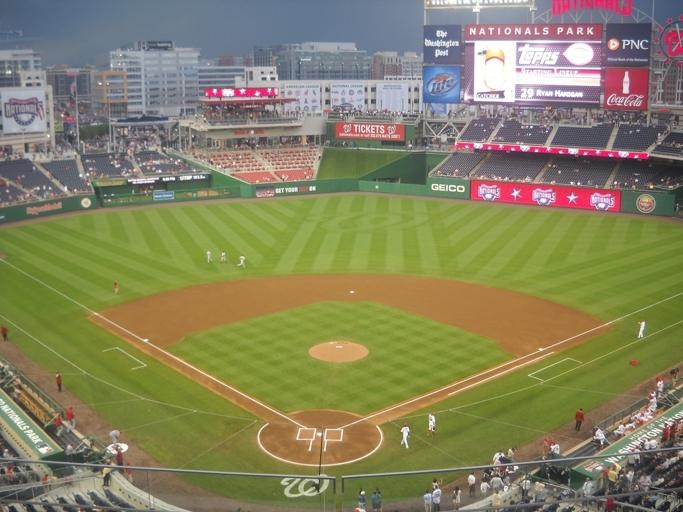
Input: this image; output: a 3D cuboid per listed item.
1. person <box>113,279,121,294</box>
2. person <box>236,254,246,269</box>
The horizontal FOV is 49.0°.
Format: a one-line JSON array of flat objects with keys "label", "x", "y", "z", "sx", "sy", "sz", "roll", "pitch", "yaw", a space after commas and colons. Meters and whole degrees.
[{"label": "person", "x": -16.035, "y": 2.154, "z": 53.041, "sx": 0.860, "sy": 0.806, "sz": 0.271, "roll": 5, "pitch": 15, "yaw": 4}, {"label": "person", "x": -7.969, "y": 0.410, "z": 58.789, "sx": 0.477, "sy": 0.436, "sz": 0.989, "roll": -39, "pitch": 13, "yaw": 1}]
